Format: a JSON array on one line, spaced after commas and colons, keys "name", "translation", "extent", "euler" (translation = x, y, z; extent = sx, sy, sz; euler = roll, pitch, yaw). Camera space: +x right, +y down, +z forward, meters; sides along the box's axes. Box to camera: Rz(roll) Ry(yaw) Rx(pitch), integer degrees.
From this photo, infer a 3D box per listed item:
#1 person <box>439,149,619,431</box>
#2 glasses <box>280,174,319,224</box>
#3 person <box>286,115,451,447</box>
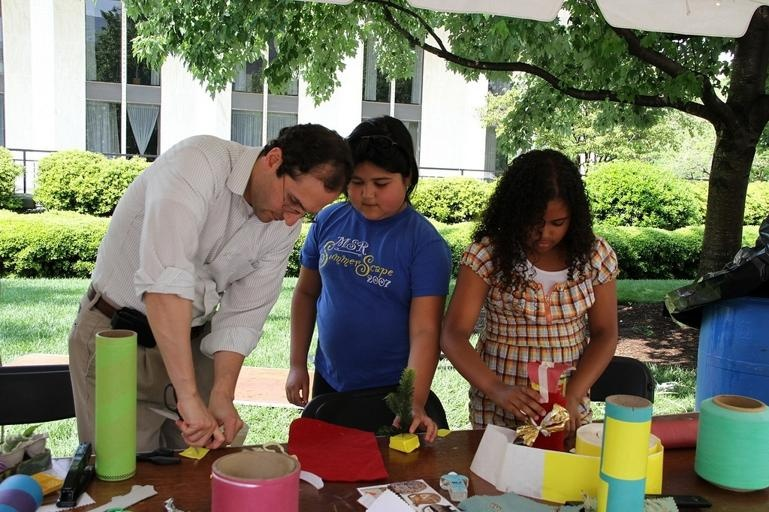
[{"name": "person", "translation": [0.675, 0.171, 2.794], "extent": [0.740, 1.383, 0.815], "euler": [3, 7, 26]}, {"name": "glasses", "translation": [-0.364, -0.236, 2.477], "extent": [0.147, 0.183, 0.100], "euler": [17, -35, -40]}, {"name": "person", "translation": [-0.043, 0.134, 3.183], "extent": [0.858, 1.561, 0.859], "euler": [1, -5, -5]}]
